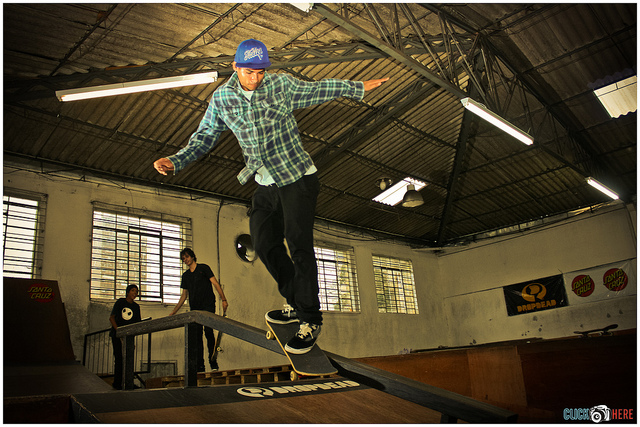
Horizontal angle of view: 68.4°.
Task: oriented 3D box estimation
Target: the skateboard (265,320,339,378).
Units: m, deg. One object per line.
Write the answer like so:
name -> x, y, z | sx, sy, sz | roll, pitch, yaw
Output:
skateboard -> -0.185, 1.473, 4.934 | 0.372, 0.166, 1.015 | 4, 15, -28
